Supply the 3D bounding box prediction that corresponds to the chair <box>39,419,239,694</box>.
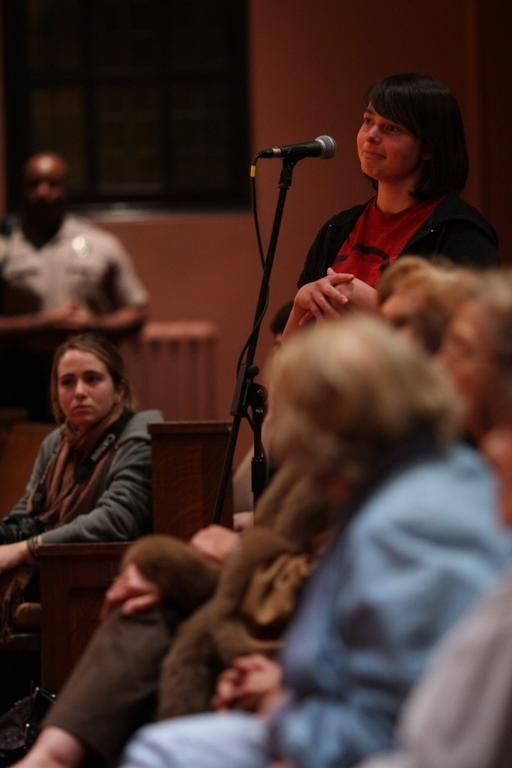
[{"bbox_3d":[-0.168,0.364,1.954,0.459,0.778,0.621,0,-5,1],"label":"chair"}]
